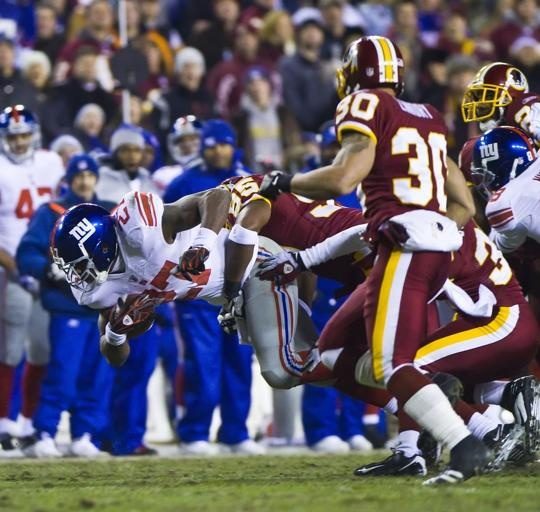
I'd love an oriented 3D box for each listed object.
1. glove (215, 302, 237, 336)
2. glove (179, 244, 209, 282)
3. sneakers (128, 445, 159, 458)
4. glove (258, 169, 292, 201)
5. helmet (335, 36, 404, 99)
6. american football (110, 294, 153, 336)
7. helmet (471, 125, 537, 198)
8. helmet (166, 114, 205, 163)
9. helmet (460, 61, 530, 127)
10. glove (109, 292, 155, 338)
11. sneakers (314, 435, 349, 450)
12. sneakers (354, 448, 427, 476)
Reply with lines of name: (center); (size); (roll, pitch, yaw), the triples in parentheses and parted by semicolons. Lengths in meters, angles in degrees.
glove: (-0.196, 0.334, 5.063); (0.096, 0.124, 0.165); (37, 27, -18)
glove: (-0.353, 0.035, 4.594); (0.136, 0.122, 0.102); (-3, -1, -22)
sneakers: (-0.811, 1.287, 6.367); (0.197, 0.080, 0.066); (10, -20, -13)
glove: (0.031, -0.332, 4.505); (0.151, 0.109, 0.176); (-3, -1, -1)
helmet: (0.474, -0.908, 4.649); (0.313, 0.271, 0.313); (-3, -1, 5)
american football: (-0.690, 0.297, 4.923); (0.186, 0.230, 0.101); (37, 11, -18)
helmet: (1.194, -0.505, 5.024); (0.292, 0.360, 0.358); (-6, 14, -40)
helmet: (-0.654, -0.873, 7.727); (0.337, 0.438, 0.414); (-4, 25, -3)
helmet: (1.186, -0.907, 5.428); (0.385, 0.316, 0.294); (-6, 4, -9)
glove: (-0.700, 0.317, 4.894); (0.188, 0.238, 0.107); (33, 16, -30)
sneakers: (0.426, 1.301, 6.675); (0.185, 0.077, 0.108); (-3, -1, 10)
sneakers: (0.604, 1.047, 4.835); (0.405, 0.160, 0.134); (1, -19, 6)
